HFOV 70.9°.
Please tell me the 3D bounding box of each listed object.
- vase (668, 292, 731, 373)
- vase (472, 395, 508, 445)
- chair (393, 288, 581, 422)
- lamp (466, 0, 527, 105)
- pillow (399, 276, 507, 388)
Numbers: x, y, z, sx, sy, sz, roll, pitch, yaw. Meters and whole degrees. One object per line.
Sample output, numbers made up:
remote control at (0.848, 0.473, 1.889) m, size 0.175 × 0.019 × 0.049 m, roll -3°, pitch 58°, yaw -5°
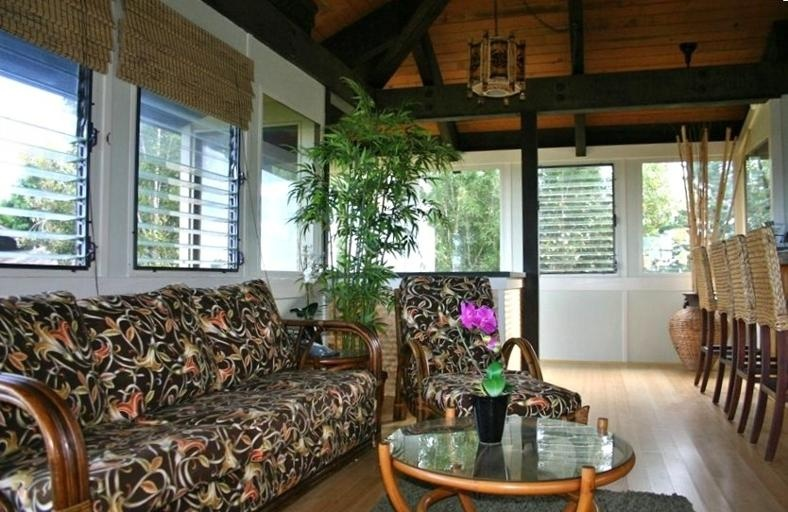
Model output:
vase at (3.755, 0.947, 6.832) m, size 0.663 × 0.933 × 0.642 m, roll 4°, pitch -6°, yaw -29°
vase at (0.485, 0.795, 2.701) m, size 0.172 × 0.187 × 0.176 m, roll 3°, pitch -22°, yaw 7°
chair at (0.611, 0.609, 3.888) m, size 0.812 × 0.872 × 1.248 m, roll 2°, pitch -8°, yaw -19°
lamp at (0.842, -1.543, 4.553) m, size 0.453 × 0.500 × 0.331 m, roll 0°, pitch 2°, yaw 7°
pillow at (0.382, 0.556, 3.921) m, size 0.740 × 0.758 × 0.184 m, roll 1°, pitch -10°, yaw -6°
